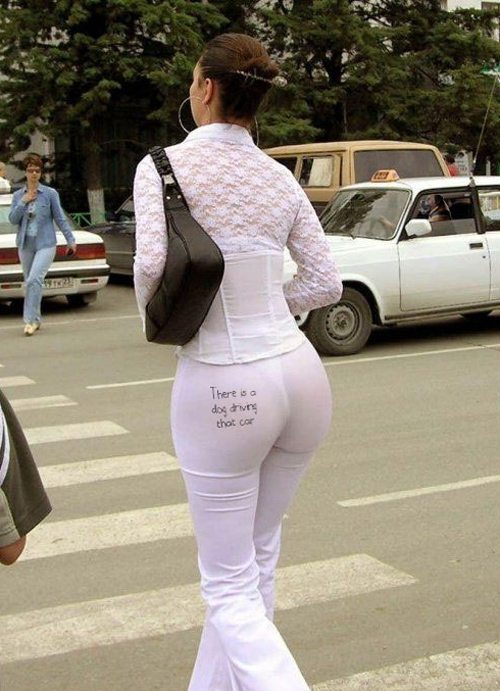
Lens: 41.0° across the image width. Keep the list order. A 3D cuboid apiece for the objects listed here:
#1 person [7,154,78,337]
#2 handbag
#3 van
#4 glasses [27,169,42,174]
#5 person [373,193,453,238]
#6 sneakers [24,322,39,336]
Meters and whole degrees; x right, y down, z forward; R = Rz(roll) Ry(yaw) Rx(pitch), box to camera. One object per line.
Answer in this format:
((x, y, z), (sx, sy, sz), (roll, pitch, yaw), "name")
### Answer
((-3.212, -1.528, 10.212), (0.484, 2.707, 0.859), (6, 10, 39), "person")
((-0.125, -0.144, 1.262), (0.092, 0.219, 0.223), (1, -40, -31), "handbag")
((2.227, -3.430, 14.695), (2.601, 2.150, 4.163), (-15, 18, -15), "van")
((-3.205, -2.590, 9.928), (0.091, 0.094, 0.235), (3, 8, 24), "glasses")
((2.239, -1.792, 8.914), (0.813, 0.405, 0.581), (-14, 11, 2), "person")
((-3.353, -0.252, 10.264), (0.128, 0.139, 0.346), (-1, 10, 0), "sneakers")
